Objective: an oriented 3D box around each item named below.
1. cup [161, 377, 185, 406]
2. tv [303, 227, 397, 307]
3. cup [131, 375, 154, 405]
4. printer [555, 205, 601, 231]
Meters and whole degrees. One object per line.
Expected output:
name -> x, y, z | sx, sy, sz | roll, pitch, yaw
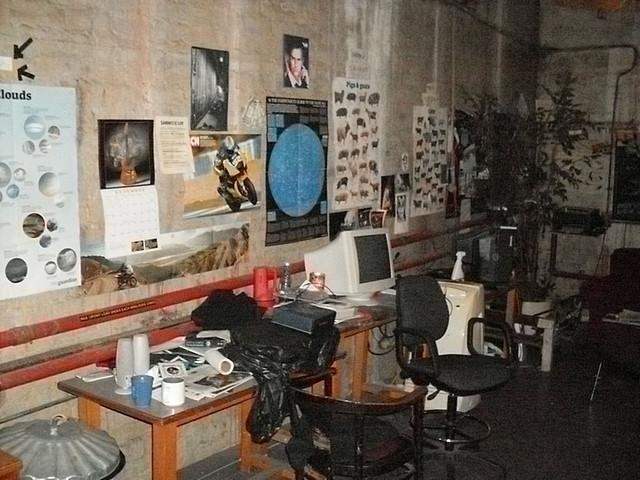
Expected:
cup -> -0.604, 0.629, 2.154 | 0.078, 0.088, 0.117 | 6, 13, 16
tv -> 0.235, 0.145, 3.437 | 0.501, 0.469, 0.525 | -2, 3, 29
cup -> -0.730, 0.617, 2.115 | 0.097, 0.109, 0.116 | 1, 0, 5
printer -> 1.738, -0.133, 3.433 | 0.235, 0.151, 0.153 | 11, 19, 41
